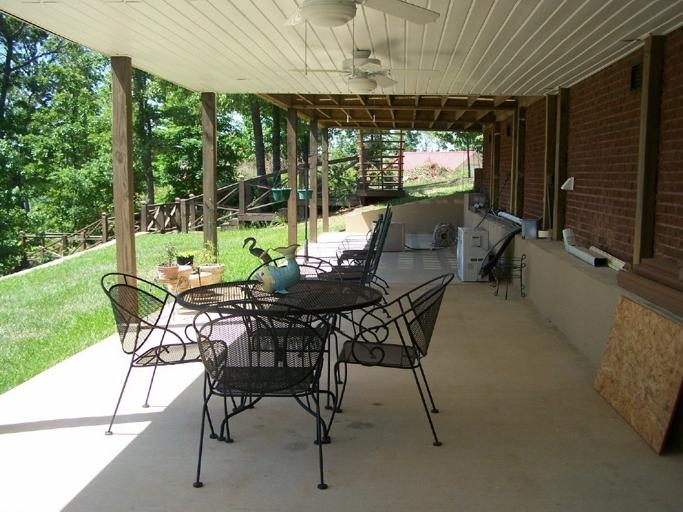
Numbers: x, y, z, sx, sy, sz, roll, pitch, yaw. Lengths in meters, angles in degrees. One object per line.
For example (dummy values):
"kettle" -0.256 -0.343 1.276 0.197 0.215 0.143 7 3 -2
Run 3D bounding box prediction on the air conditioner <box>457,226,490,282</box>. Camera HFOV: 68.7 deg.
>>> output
"air conditioner" 2.070 -0.010 7.923 0.420 0.806 0.597 1 9 9

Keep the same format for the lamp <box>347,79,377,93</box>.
"lamp" 0.214 -1.767 5.268 0.186 0.123 0.193 2 8 5
